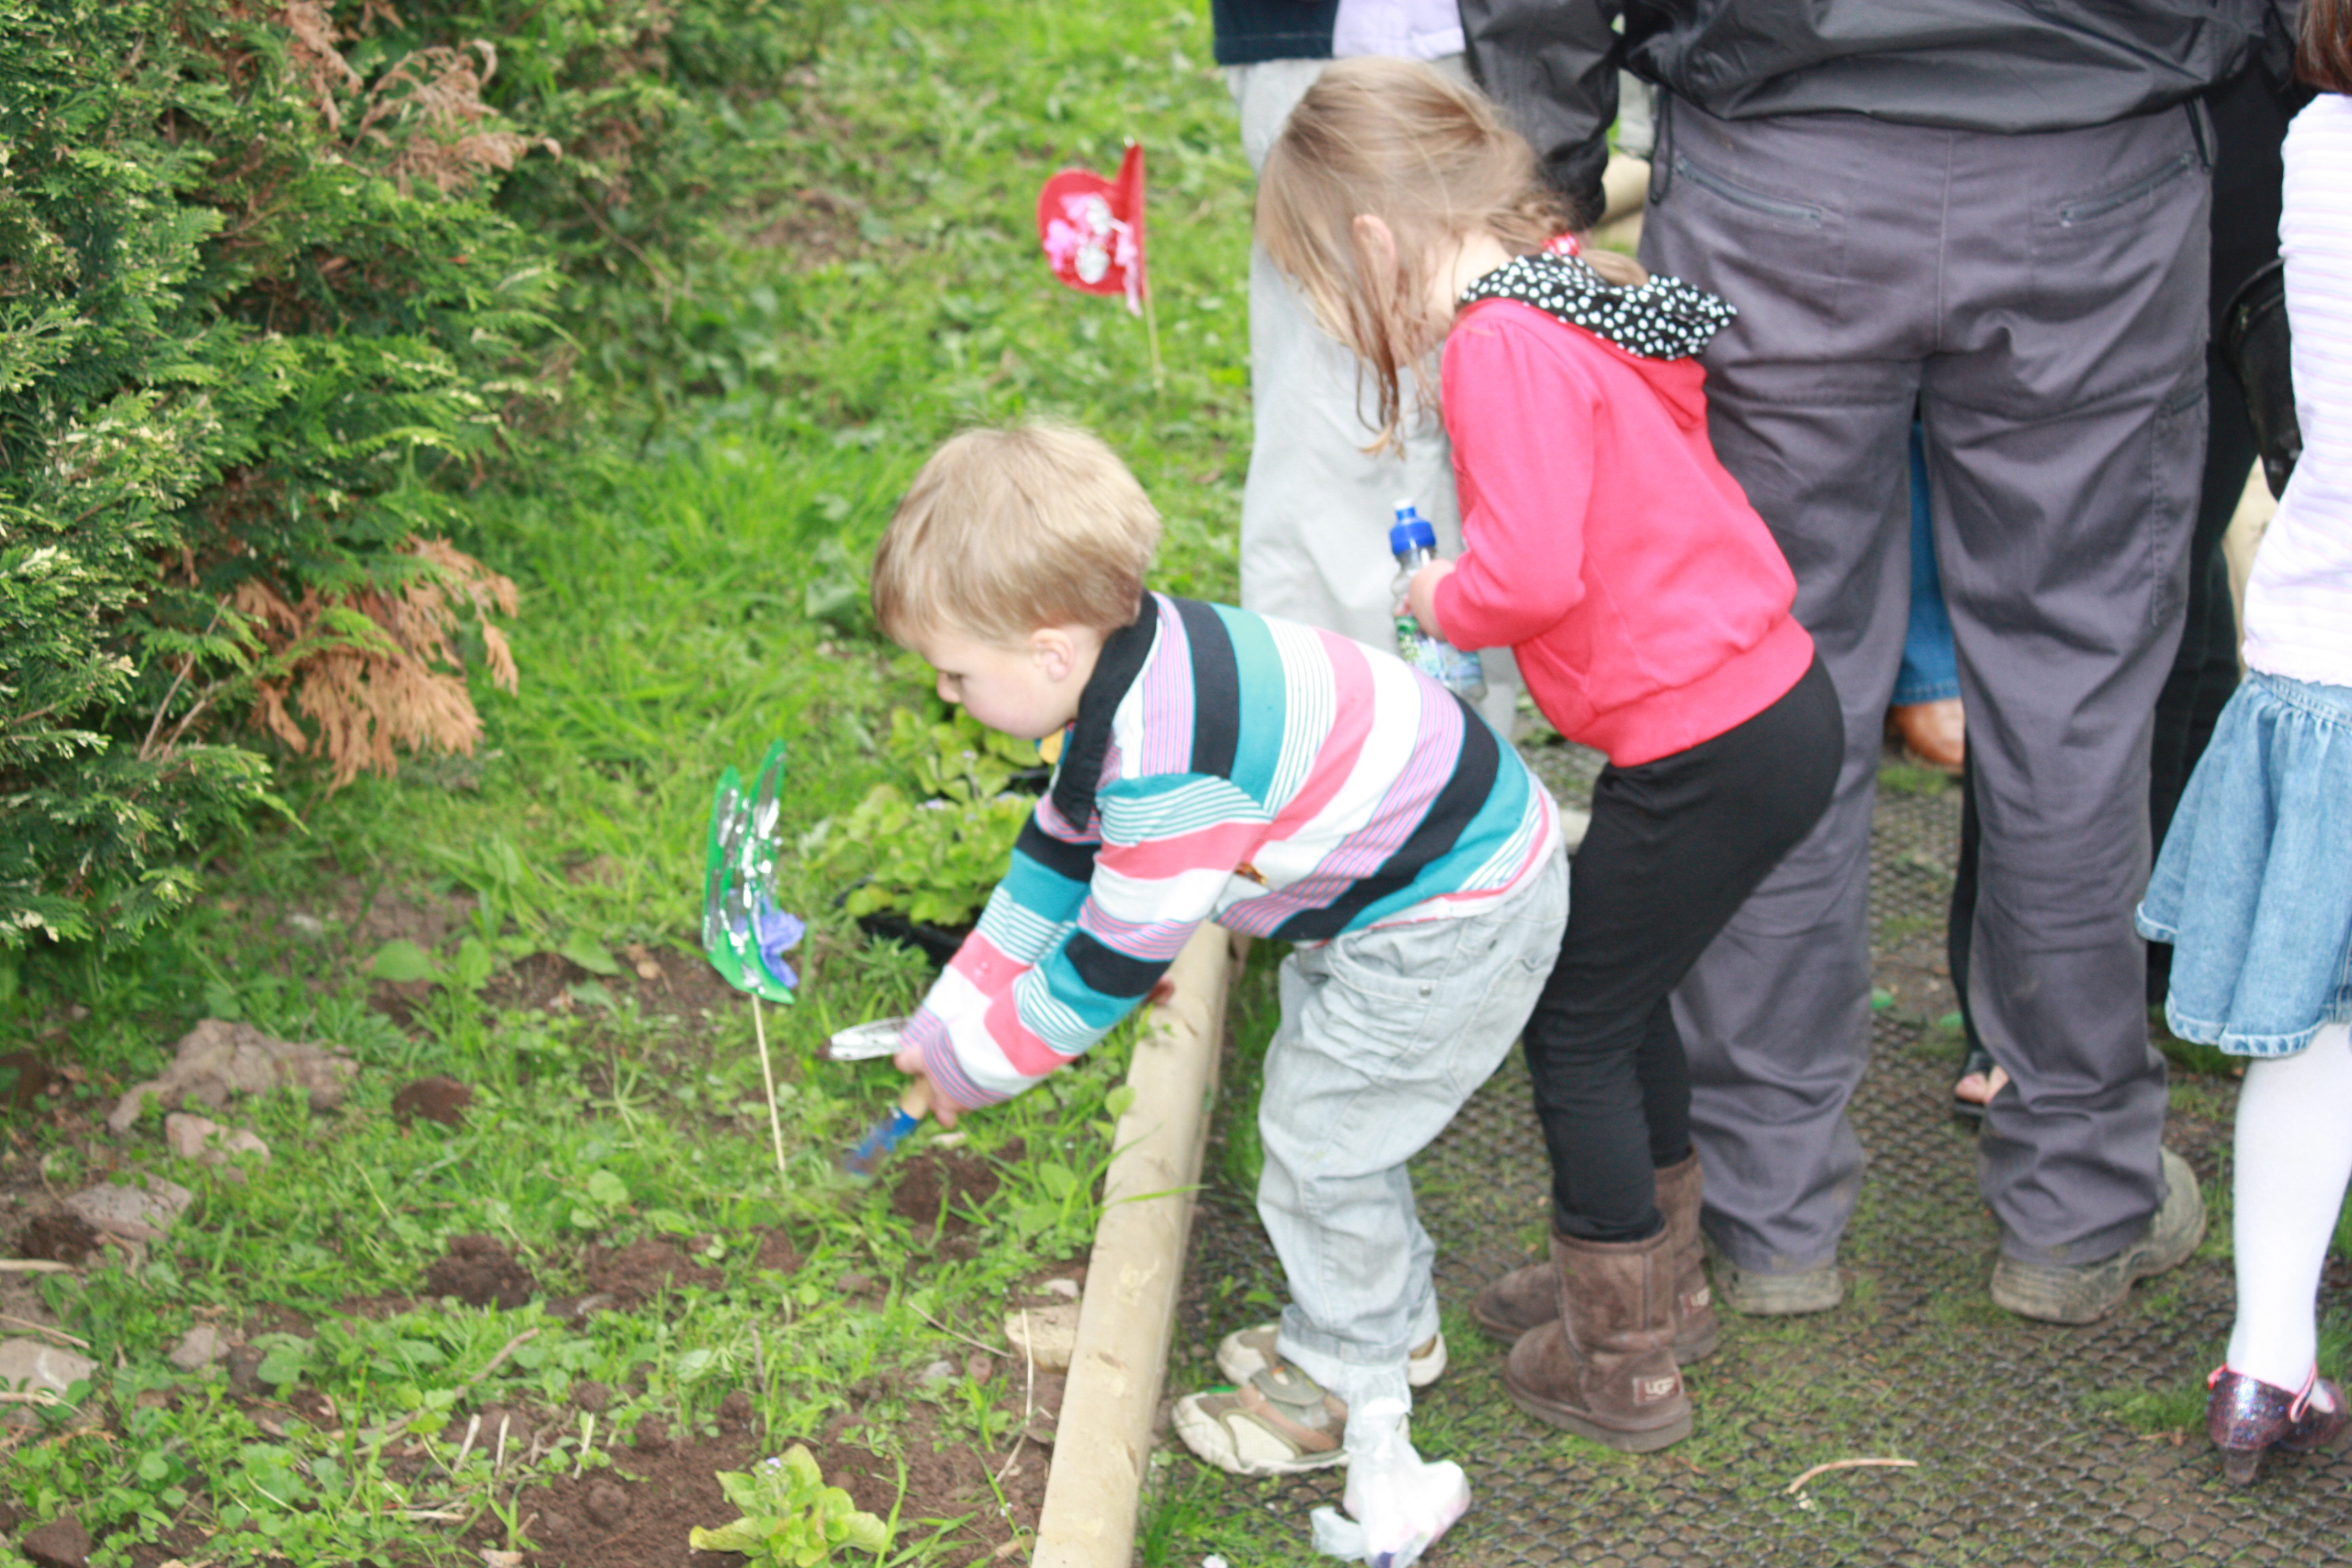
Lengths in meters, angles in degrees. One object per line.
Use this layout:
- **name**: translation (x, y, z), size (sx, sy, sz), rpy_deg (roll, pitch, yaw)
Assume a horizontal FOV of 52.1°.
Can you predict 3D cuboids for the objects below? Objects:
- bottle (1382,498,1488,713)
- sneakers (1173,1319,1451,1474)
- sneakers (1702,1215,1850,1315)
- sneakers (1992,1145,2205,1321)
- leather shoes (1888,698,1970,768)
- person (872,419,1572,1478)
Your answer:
- **bottle**: translation (0.480, -0.351, 4.715), size (0.136, 0.384, 0.134), rpy_deg (-4, 4, 0)
- **sneakers**: translation (0.249, 1.195, 4.699), size (0.441, 0.168, 0.283), rpy_deg (-17, 48, -18)
- **sneakers**: translation (1.232, 0.995, 4.942), size (0.179, 0.096, 0.238), rpy_deg (0, 6, 9)
- **sneakers**: translation (1.923, 0.981, 5.037), size (0.496, 0.239, 0.223), rpy_deg (-37, 46, -23)
- **leather shoes**: translation (1.953, -0.129, 6.186), size (0.158, 0.148, 0.182), rpy_deg (0, -15, 15)
- **person**: translation (0.128, 0.330, 4.453), size (1.136, 2.036, 0.637), rpy_deg (-1, 28, 17)
